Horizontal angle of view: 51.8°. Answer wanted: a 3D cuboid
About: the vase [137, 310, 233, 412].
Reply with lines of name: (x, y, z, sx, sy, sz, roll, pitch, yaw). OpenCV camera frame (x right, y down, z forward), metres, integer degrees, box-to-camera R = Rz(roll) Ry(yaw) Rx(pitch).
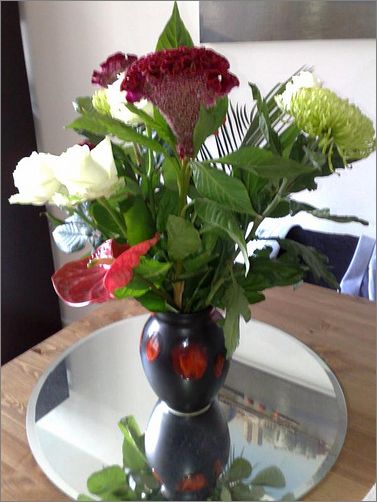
vase: (-0.007, 0.142, 0.544, 0.120, 0.150, 0.124, 6, 13, 37)
